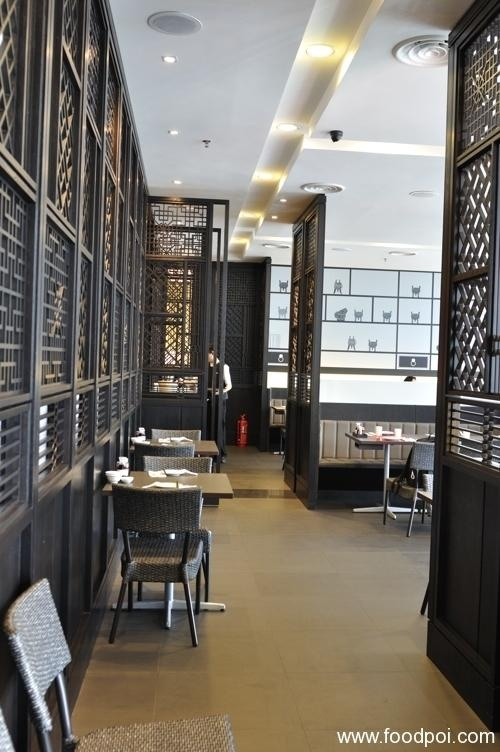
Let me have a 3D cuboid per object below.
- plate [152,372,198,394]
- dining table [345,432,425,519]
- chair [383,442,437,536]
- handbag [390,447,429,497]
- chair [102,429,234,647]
[{"bbox_3d":[-0.956,0.098,6.477,0.431,0.269,0.107,-2,4,1],"label":"plate"},{"bbox_3d":[1.536,1.099,5.748,0.971,0.856,1.090,3,-4,0],"label":"dining table"},{"bbox_3d":[1.532,1.054,4.885,0.396,0.812,0.442,4,-3,-26],"label":"chair"},{"bbox_3d":[1.476,0.906,4.745,0.355,0.411,0.395,4,-5,-1],"label":"handbag"},{"bbox_3d":[-0.412,0.841,2.748,0.727,1.057,0.778,2,6,5],"label":"chair"}]
